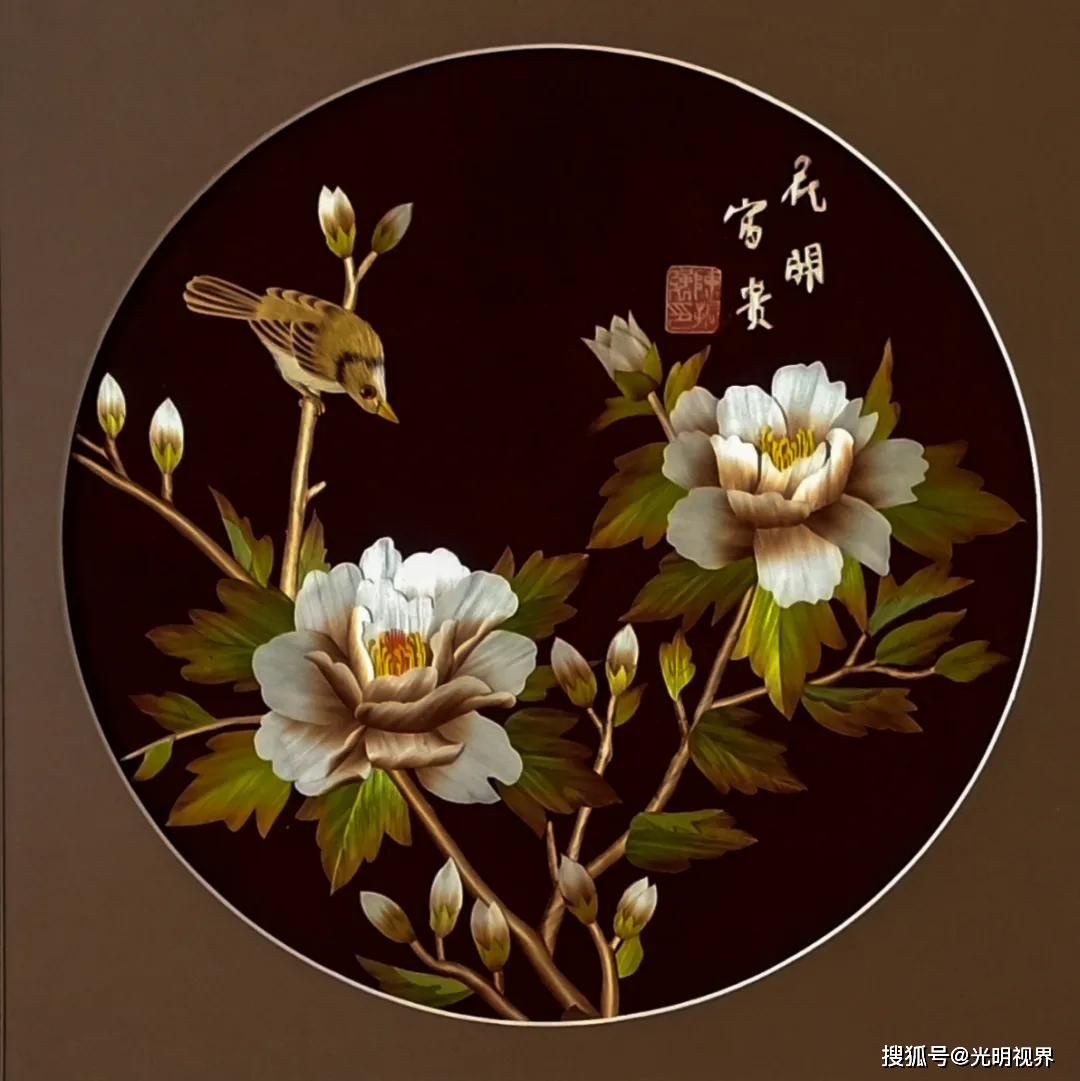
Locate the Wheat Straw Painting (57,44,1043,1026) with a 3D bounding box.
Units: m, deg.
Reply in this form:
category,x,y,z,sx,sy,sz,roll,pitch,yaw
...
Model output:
category,x,y,z,sx,sy,sz,roll,pitch,yaw
Wheat Straw Painting,0.017,0.000,1.718,0.910,0.127,0.908,-15,84,-1
